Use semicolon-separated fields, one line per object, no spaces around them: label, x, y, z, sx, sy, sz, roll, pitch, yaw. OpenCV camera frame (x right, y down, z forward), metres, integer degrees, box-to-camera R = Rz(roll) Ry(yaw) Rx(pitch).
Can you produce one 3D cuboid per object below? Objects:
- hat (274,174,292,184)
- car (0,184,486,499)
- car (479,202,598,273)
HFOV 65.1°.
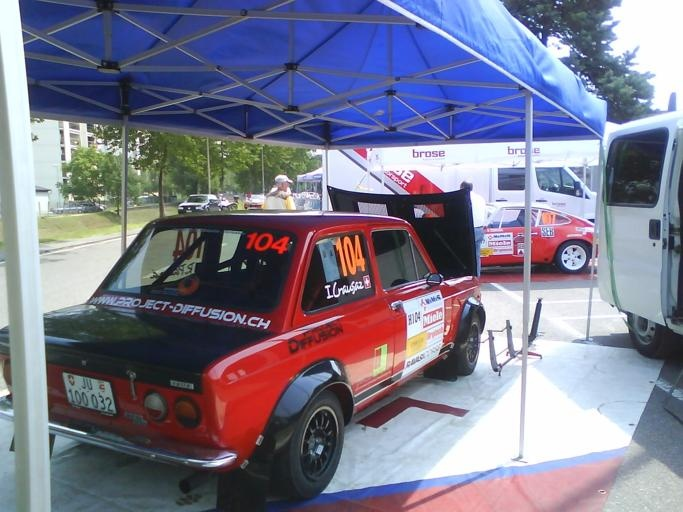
hat;-1.034;-1.343;9.506;0.303;0.143;0.199;-5;15;-24
car;-0.392;0.391;4.971;2.136;1.559;3.838;6;13;34
car;4.864;-0.472;13.691;3.402;1.231;1.884;-1;5;-3
